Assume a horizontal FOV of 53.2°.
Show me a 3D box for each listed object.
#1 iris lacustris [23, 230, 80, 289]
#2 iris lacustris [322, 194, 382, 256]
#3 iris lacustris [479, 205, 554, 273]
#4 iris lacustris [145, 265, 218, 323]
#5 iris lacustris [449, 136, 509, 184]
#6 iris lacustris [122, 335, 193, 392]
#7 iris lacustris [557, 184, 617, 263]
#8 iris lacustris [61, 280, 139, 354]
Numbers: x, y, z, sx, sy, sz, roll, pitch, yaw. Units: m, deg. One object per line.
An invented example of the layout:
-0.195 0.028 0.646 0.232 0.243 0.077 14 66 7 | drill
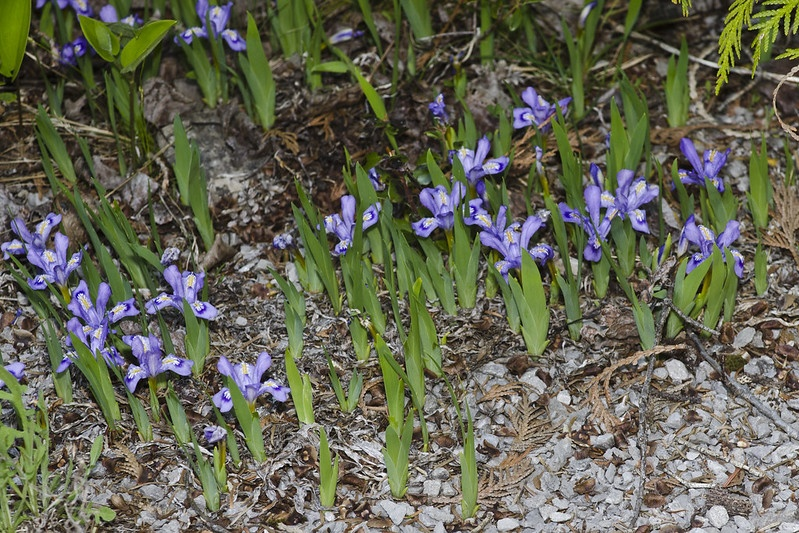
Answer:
-1.784 -0.017 4.085 0.248 0.152 0.303 -20 62 -5 | iris lacustris
-0.270 -0.220 4.154 0.260 0.142 0.329 3 81 18 | iris lacustris
0.572 -0.158 4.026 0.314 0.139 0.353 -23 58 -11 | iris lacustris
-1.141 0.147 4.020 0.337 0.161 0.326 -5 59 -24 | iris lacustris
0.457 -0.535 4.251 0.254 0.093 0.213 -7 50 -44 | iris lacustris
-1.187 0.463 3.818 0.267 0.147 0.297 17 35 10 | iris lacustris
0.984 -0.223 4.145 0.287 0.149 0.395 -1 91 9 | iris lacustris
-1.513 0.246 3.942 0.312 0.142 0.351 20 58 -3 | iris lacustris
